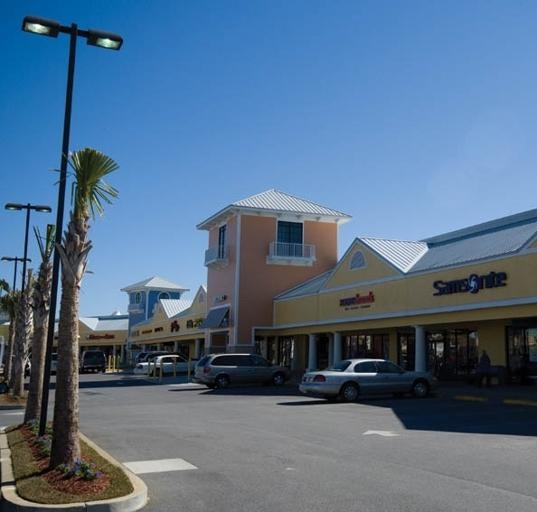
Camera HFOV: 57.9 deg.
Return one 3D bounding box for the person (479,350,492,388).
[{"bbox_3d":[10.242,5.272,22.826,0.543,1.608,1.794,-4,-12,24],"label":"person"}]
